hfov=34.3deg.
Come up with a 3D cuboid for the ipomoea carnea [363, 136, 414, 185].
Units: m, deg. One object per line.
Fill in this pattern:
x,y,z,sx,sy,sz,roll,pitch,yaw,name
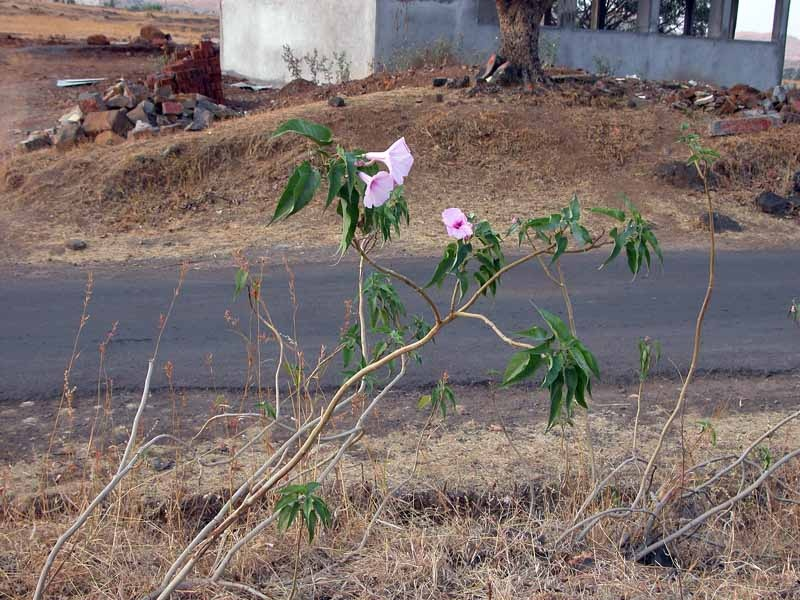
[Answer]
-0.135,-1.912,17.858,0.646,0.510,0.406,10,-9,17,ipomoea carnea
